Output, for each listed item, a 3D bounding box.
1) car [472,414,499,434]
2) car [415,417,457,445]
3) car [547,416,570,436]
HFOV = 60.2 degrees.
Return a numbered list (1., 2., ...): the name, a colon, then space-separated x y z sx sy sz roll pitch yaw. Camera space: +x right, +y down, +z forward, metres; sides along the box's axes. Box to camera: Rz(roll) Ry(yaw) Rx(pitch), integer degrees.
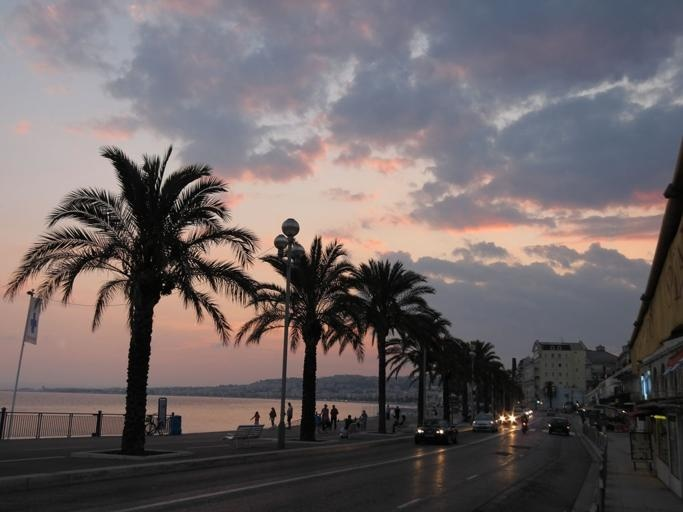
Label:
1. car: 13.026 15.091 53.619 2.007 1.583 2.479 -5 -16 15
2. car: 6.181 11.330 38.299 1.462 1.024 2.578 -5 -25 13
3. car: 19.330 15.039 52.224 1.727 1.499 1.778 -5 -16 15
